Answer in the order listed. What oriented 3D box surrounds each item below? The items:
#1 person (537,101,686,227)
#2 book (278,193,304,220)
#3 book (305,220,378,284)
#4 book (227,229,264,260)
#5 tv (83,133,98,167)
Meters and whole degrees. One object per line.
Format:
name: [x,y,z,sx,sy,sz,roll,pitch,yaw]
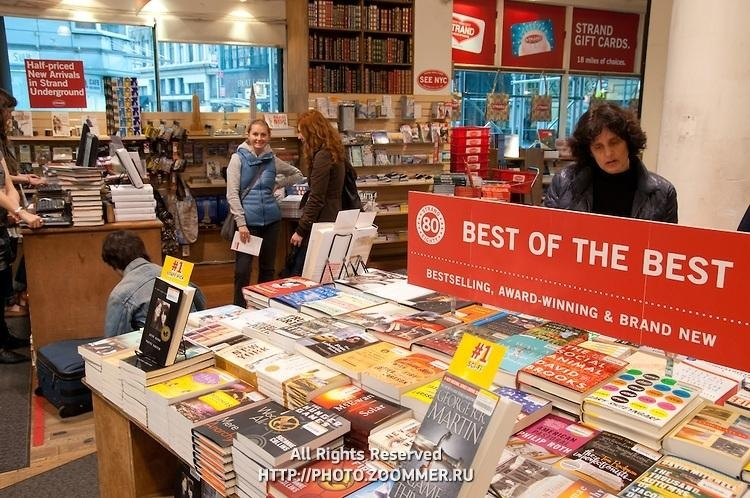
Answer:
person: [1.437,-0.533,3.002,0.748,0.715,0.287,1,17,17]
book: [-1.113,-0.590,6.622,0.359,0.364,0.255,1,-25,5]
book: [-0.254,0.024,3.518,0.553,0.388,0.074,0,27,-44]
book: [-1.420,-0.046,5.319,0.432,0.305,0.230,4,18,25]
tv: [-2.753,-0.956,4.725,0.161,0.285,0.388,-12,18,-27]
